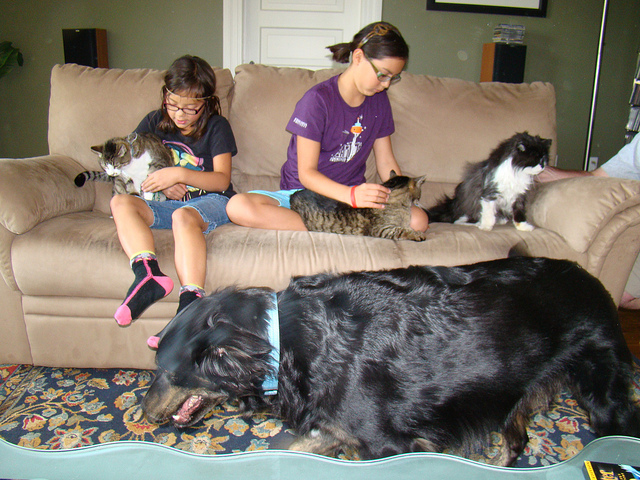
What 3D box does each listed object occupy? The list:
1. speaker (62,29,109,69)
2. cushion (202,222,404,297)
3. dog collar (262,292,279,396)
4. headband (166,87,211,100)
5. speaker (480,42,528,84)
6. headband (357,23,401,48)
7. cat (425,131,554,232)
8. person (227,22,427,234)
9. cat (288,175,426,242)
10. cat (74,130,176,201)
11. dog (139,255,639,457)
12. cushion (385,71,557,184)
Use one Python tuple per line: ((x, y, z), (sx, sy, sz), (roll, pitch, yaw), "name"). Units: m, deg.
((-2.037, -1.700, 4.604), (0.367, 0.313, 0.299), (-6, 22, -26), "speaker")
((-0.093, 0.093, 2.367), (0.869, 0.243, 0.288), (4, 20, -2), "cushion")
((-0.164, 0.356, 1.813), (0.055, 0.286, 0.190), (2, 20, -4), "dog collar")
((-0.654, -0.722, 2.597), (0.180, 0.036, 0.048), (-2, 21, -18), "headband")
((1.572, -1.618, 4.723), (0.179, 0.362, 0.185), (-18, 36, -18), "speaker")
((0.275, -0.963, 2.467), (0.191, 0.117, 0.111), (3, 20, -4), "headband")
((0.811, -0.300, 2.735), (0.674, 0.496, 0.289), (8, 8, 42), "cat")
((0.099, -0.553, 2.605), (0.794, 1.080, 0.698), (-15, 32, -34), "person")
((0.189, -0.107, 2.578), (0.721, 0.386, 0.289), (2, 36, -5), "cat")
((-0.912, -0.387, 2.531), (0.321, 0.221, 0.466), (-19, 9, 6), "cat")
((0.259, 0.437, 1.881), (1.323, 0.681, 0.424), (-3, 27, 0), "dog")
((0.831, -0.623, 2.967), (0.929, 0.572, 0.353), (3, 19, -4), "cushion")
